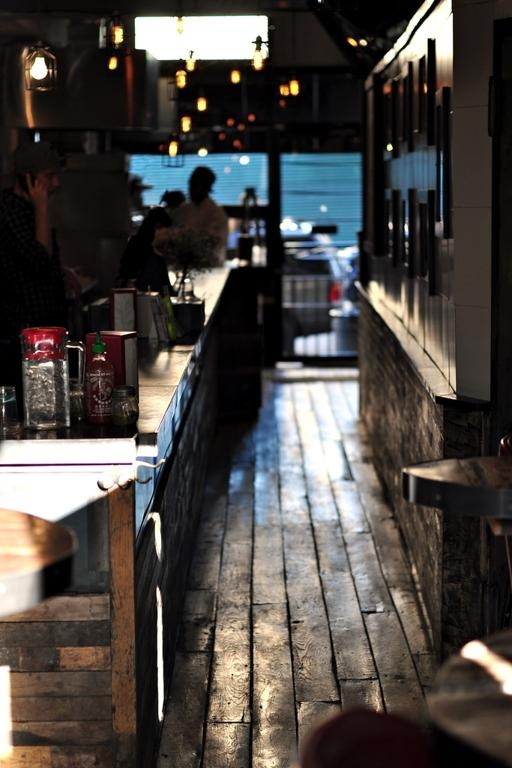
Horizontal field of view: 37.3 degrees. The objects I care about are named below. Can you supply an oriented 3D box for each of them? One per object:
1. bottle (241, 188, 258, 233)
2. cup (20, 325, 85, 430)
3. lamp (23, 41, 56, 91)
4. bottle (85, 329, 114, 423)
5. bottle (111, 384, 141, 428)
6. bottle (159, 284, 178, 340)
[{"bbox_3d":[-0.097,-2.034,8.933,0.200,0.528,0.159,0,8,1],"label":"bottle"},{"bbox_3d":[-0.532,-0.027,1.967,0.146,0.269,0.119,7,22,0],"label":"cup"},{"bbox_3d":[-1.117,-1.624,3.911,0.129,0.218,0.255,-4,10,-24],"label":"lamp"},{"bbox_3d":[-0.419,-0.015,2.057,0.104,0.232,0.098,0,8,0],"label":"bottle"},{"bbox_3d":[-0.346,0.057,2.002,0.082,0.152,0.088,0,2,0],"label":"bottle"},{"bbox_3d":[-0.458,-0.373,3.949,0.078,0.268,0.330,-1,9,-7],"label":"bottle"}]
